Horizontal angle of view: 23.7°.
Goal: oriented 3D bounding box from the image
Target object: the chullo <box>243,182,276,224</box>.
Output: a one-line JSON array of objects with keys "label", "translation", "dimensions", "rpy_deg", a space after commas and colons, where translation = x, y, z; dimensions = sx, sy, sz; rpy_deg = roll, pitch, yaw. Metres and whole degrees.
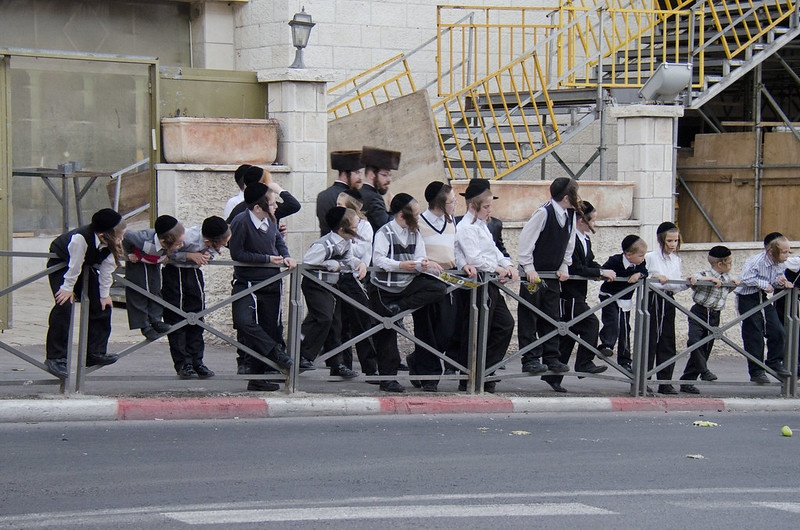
[{"label": "chullo", "translation": [-1.656, -0.724, 22.669], "dimensions": [0.472, 0.530, 0.369], "rpy_deg": [-8, 37, -1]}]

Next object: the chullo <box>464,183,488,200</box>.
[{"label": "chullo", "translation": [0.936, -0.885, 23.375], "dimensions": [0.275, 0.240, 0.311], "rpy_deg": [0, 3, 1]}]

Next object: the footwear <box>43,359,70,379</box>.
[{"label": "footwear", "translation": [-4.001, 1.225, 22.279], "dimensions": [0.371, 0.150, 0.143], "rpy_deg": [23, 16, 4]}]

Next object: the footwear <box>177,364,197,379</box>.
[{"label": "footwear", "translation": [-2.530, 1.288, 22.790], "dimensions": [0.134, 0.110, 0.295], "rpy_deg": [-1, -2, -45]}]

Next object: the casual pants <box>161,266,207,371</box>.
[{"label": "casual pants", "translation": [-2.555, 0.668, 22.815], "dimensions": [0.522, 1.266, 0.361], "rpy_deg": [-3, -12, -22]}]

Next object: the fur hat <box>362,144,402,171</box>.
[{"label": "fur hat", "translation": [-0.270, -1.310, 24.089], "dimensions": [0.477, 0.194, 0.319], "rpy_deg": [5, 1, -6]}]

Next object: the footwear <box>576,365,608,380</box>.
[{"label": "footwear", "translation": [2.343, 1.348, 23.799], "dimensions": [0.443, 0.160, 0.147], "rpy_deg": [-11, -5, 8]}]

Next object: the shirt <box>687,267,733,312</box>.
[{"label": "shirt", "translation": [3.949, 0.318, 24.500], "dimensions": [0.675, 0.549, 0.377], "rpy_deg": [7, -6, -21]}]

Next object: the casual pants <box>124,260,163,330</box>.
[{"label": "casual pants", "translation": [-2.994, 0.365, 22.579], "dimensions": [0.485, 0.256, 0.947], "rpy_deg": [7, 45, -14]}]

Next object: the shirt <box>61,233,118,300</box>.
[{"label": "shirt", "translation": [-3.621, 0.014, 22.133], "dimensions": [0.673, 0.879, 0.232], "rpy_deg": [18, -8, -30]}]

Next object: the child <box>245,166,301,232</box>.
[{"label": "child", "translation": [-1.600, -0.812, 23.633], "dimensions": [0.501, 0.350, 0.808], "rpy_deg": [-24, -23, 5]}]

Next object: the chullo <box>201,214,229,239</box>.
[{"label": "chullo", "translation": [-2.180, -0.406, 22.511], "dimensions": [0.283, 0.130, 0.281], "rpy_deg": [32, 56, 28]}]

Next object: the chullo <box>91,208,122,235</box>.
[{"label": "chullo", "translation": [-3.413, -0.487, 22.090], "dimensions": [0.341, 0.223, 0.252], "rpy_deg": [-21, -33, 20]}]

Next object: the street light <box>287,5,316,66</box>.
[{"label": "street light", "translation": [-1.334, -3.014, 25.820], "dimensions": [0.317, 0.809, 0.908], "rpy_deg": [0, 3, -3]}]

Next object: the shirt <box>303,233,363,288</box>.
[{"label": "shirt", "translation": [-0.825, -0.058, 23.099], "dimensions": [0.779, 0.576, 0.562], "rpy_deg": [-1, 6, -7]}]

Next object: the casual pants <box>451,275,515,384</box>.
[{"label": "casual pants", "translation": [0.970, 0.800, 23.340], "dimensions": [0.900, 1.968, 0.575], "rpy_deg": [-3, 28, 2]}]

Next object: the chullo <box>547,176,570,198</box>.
[{"label": "chullo", "translation": [1.923, -0.935, 23.497], "dimensions": [0.229, 0.244, 0.196], "rpy_deg": [14, 5, -12]}]

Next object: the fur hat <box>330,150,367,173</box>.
[{"label": "fur hat", "translation": [-0.693, -1.301, 24.211], "dimensions": [0.338, 0.161, 0.308], "rpy_deg": [-1, 6, -8]}]

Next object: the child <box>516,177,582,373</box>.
[{"label": "child", "translation": [1.823, 0.110, 23.635], "dimensions": [0.990, 2.346, 0.744], "rpy_deg": [3, -2, -25]}]

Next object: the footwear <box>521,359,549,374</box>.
[{"label": "footwear", "translation": [1.667, 1.284, 23.527], "dimensions": [0.337, 0.170, 0.300], "rpy_deg": [0, 3, -9]}]

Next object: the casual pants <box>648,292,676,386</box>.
[{"label": "casual pants", "translation": [3.286, 0.998, 24.026], "dimensions": [0.350, 1.312, 0.593], "rpy_deg": [1, 3, 7]}]

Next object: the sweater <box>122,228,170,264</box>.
[{"label": "sweater", "translation": [-2.977, -0.191, 22.521], "dimensions": [0.693, 0.403, 0.358], "rpy_deg": [2, -7, 18]}]

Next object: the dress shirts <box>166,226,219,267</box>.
[{"label": "dress shirts", "translation": [-2.495, -0.176, 22.645], "dimensions": [0.442, 0.499, 0.212], "rpy_deg": [8, 9, -11]}]

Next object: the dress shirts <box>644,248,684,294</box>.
[{"label": "dress shirts", "translation": [3.298, 0.107, 24.042], "dimensions": [0.662, 0.548, 0.369], "rpy_deg": [4, -6, -35]}]

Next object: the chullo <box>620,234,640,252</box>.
[{"label": "chullo", "translation": [2.878, -0.243, 24.123], "dimensions": [0.196, 0.231, 0.174], "rpy_deg": [30, 18, -7]}]

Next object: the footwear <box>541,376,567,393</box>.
[{"label": "footwear", "translation": [1.864, 1.509, 23.840], "dimensions": [0.437, 0.258, 0.143], "rpy_deg": [3, 7, 11]}]

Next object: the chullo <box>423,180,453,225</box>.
[{"label": "chullo", "translation": [0.471, -0.755, 23.212], "dimensions": [0.475, 0.515, 0.335], "rpy_deg": [-10, 21, 6]}]

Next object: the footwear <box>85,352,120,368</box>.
[{"label": "footwear", "translation": [-3.488, 1.136, 22.463], "dimensions": [0.430, 0.155, 0.146], "rpy_deg": [-5, 10, -1]}]

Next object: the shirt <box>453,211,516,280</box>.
[{"label": "shirt", "translation": [1.031, -0.222, 23.500], "dimensions": [0.838, 0.772, 0.854], "rpy_deg": [4, 4, 17]}]

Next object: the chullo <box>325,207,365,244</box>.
[{"label": "chullo", "translation": [-0.730, -0.492, 23.028], "dimensions": [0.540, 0.408, 0.376], "rpy_deg": [2, 13, 12]}]

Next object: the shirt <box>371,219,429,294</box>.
[{"label": "shirt", "translation": [-0.051, -0.059, 23.225], "dimensions": [0.743, 0.901, 0.892], "rpy_deg": [7, 2, 36]}]

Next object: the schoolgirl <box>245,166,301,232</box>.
[{"label": "schoolgirl", "translation": [-1.601, -0.683, 23.775], "dimensions": [0.565, 1.080, 0.605], "rpy_deg": [-13, -15, -5]}]

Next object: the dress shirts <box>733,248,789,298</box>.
[{"label": "dress shirts", "translation": [4.606, 0.113, 24.244], "dimensions": [0.630, 0.552, 0.534], "rpy_deg": [-5, 9, -18]}]

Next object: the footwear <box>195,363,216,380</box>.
[{"label": "footwear", "translation": [-2.341, 1.295, 22.850], "dimensions": [0.326, 0.121, 0.119], "rpy_deg": [6, 11, 38]}]

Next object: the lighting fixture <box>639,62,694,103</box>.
[{"label": "lighting fixture", "translation": [3.834, -2.611, 27.021], "dimensions": [0.475, 0.278, 0.718], "rpy_deg": [4, -3, -4]}]

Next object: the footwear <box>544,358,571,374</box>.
[{"label": "footwear", "translation": [1.936, 1.274, 23.649], "dimensions": [0.311, 0.111, 0.149], "rpy_deg": [1, 2, 21]}]

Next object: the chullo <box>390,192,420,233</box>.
[{"label": "chullo", "translation": [0.055, -0.614, 23.110], "dimensions": [0.344, 0.455, 0.268], "rpy_deg": [0, 3, -1]}]

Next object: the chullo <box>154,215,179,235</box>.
[{"label": "chullo", "translation": [-2.738, -0.446, 22.440], "dimensions": [0.281, 0.229, 0.229], "rpy_deg": [0, 3, -9]}]
